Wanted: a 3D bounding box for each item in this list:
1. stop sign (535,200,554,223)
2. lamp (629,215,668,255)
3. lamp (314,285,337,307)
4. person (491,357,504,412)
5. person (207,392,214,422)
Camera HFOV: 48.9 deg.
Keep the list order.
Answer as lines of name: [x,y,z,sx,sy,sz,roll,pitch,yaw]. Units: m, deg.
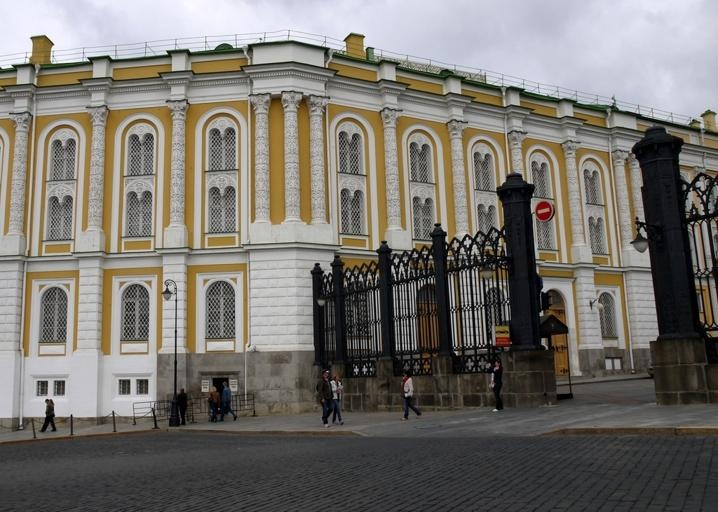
stop sign: [7.258,-1.851,30.861,0.613,0.839,0.864,-9,-14,22]
lamp: [9.330,-0.754,25.739,0.968,1.234,0.614,-6,-19,23]
lamp: [-1.710,1.826,37.348,0.544,1.163,1.890,4,-15,-31]
person: [4.700,4.325,26.718,0.418,1.775,0.800,-7,-14,14]
person: [-6.634,6.873,36.030,0.310,1.328,0.397,-1,-13,-12]
